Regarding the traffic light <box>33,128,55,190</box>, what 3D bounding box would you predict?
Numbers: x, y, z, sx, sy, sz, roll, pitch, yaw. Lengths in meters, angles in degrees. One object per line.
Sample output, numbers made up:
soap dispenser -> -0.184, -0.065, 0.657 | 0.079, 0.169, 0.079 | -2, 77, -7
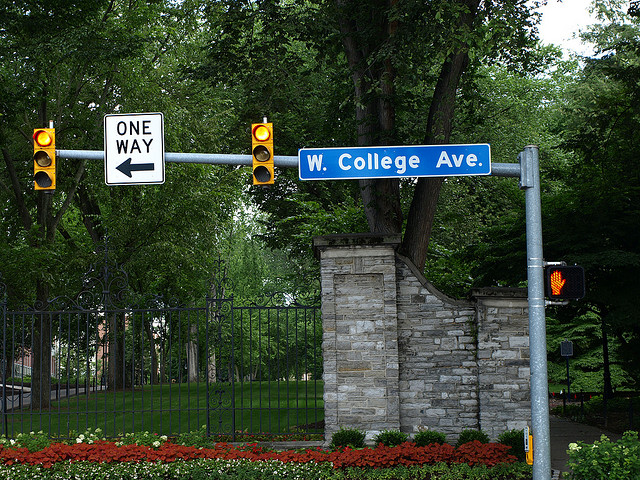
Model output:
traffic light -> -6.608, -1.951, 21.619 | 0.485, 1.479, 0.257 | 1, -8, -18

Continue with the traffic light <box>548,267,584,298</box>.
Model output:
traffic light -> 5.629, 0.955, 20.545 | 0.689, 0.664, 0.233 | 0, -3, 4

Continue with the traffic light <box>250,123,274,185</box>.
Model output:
traffic light -> -1.378, -2.069, 21.554 | 0.481, 1.490, 0.498 | -1, -8, -4

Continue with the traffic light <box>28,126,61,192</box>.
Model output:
traffic light -> -6.591, -1.993, 21.751 | 0.627, 1.608, 0.810 | 1, -8, -18
